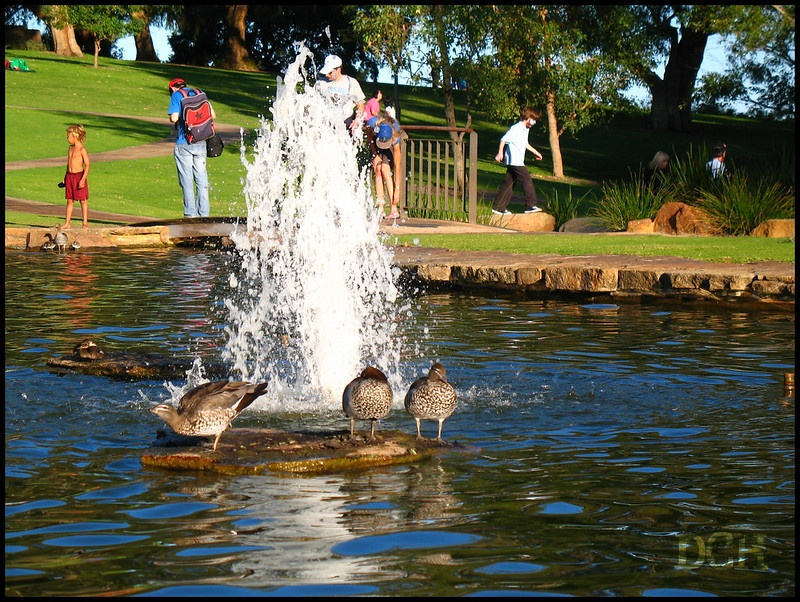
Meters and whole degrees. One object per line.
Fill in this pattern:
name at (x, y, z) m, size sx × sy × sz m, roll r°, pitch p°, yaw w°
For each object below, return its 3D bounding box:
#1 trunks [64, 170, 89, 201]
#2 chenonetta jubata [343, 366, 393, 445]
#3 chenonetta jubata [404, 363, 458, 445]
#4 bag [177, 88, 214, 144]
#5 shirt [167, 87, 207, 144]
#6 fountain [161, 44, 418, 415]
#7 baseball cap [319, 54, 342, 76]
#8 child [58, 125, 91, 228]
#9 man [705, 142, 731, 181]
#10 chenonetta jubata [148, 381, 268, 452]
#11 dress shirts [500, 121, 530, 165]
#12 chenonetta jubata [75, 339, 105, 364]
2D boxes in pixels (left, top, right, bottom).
trunks at (-5.903, -2.095, 25.603) m, size 0.374 × 0.520 × 0.380 m, roll -1°, pitch 4°, yaw -13°
chenonetta jubata at (-0.357, 1.074, 14.869) m, size 0.573 × 0.818 × 1.024 m, roll 2°, pitch 6°, yaw -14°
chenonetta jubata at (0.327, 1.078, 14.927) m, size 0.559 × 0.803 × 0.914 m, roll 2°, pitch -1°, yaw -12°
bag at (-3.820, -3.470, 26.054) m, size 0.568 × 0.953 × 0.708 m, roll 20°, pitch 35°, yaw 35°
shirt at (-3.837, -3.455, 26.120) m, size 0.710 × 0.964 × 0.567 m, roll -25°, pitch 32°, yaw -38°
fountain at (-1.243, -1.230, 19.263) m, size 2.391 × 4.576 × 7.029 m, roll -1°, pitch 3°, yaw -6°
baseball cap at (-1.087, -4.078, 23.800) m, size 0.263 × 0.226 × 0.407 m, roll 30°, pitch 52°, yaw 28°
child at (-5.849, -2.169, 25.812) m, size 0.721 × 2.095 × 0.812 m, roll -7°, pitch 20°, yaw -31°
man at (6.149, -2.710, 27.228) m, size 0.376 × 0.711 × 1.085 m, roll 0°, pitch 3°, yaw 12°
chenonetta jubata at (-1.961, 1.108, 14.500) m, size 1.109 × 0.551 × 0.246 m, roll -1°, pitch 3°, yaw -2°
dress shirts at (2.350, -3.197, 28.463) m, size 0.507 × 0.911 × 1.244 m, roll 0°, pitch 3°, yaw 6°
chenonetta jubata at (-3.733, 0.600, 16.952) m, size 0.372 × 0.249 × 0.343 m, roll -2°, pitch 4°, yaw -18°
